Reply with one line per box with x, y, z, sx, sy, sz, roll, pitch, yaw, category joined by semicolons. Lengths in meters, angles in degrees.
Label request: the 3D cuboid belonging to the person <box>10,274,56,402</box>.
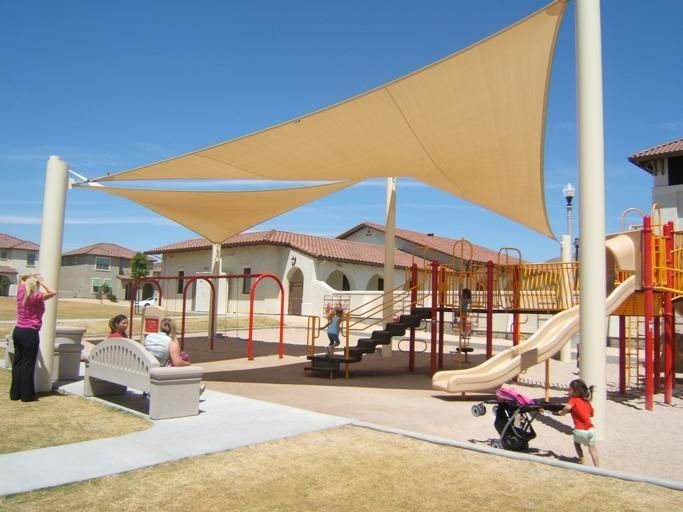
-4.687;1.223;8.818;0.529;1.870;0.641;5;-8;-29;person

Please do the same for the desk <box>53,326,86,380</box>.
-4.911;1.757;10.558;0.538;0.774;0.681;13;-10;-25;desk

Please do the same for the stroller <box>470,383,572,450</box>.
2.511;2.100;7.690;1.474;0.876;0.686;-6;-10;33;stroller

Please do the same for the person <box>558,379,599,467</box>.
3.033;2.090;7.465;0.441;1.001;0.785;-2;-8;23;person

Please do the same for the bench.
-3.176;1.771;8.959;2.251;1.025;0.837;-3;-1;43;bench
